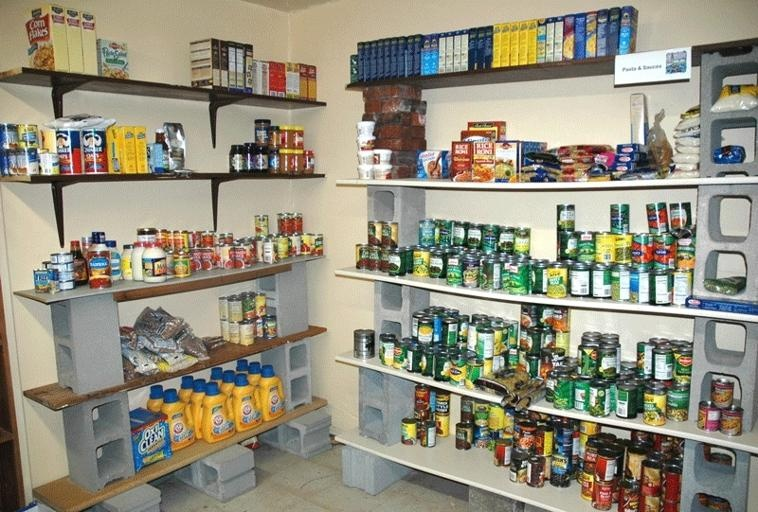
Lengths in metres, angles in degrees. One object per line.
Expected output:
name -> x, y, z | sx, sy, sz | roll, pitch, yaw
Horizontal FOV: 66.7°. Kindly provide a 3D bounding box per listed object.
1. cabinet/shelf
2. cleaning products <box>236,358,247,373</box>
cabinet/shelf -> -0.028, 0.126, 3.768 | 3.720, 1.537, 1.737 | 3, 7, 28
cleaning products -> -1.053, 0.837, 4.428 | 0.093, 0.073, 0.088 | 2, 5, 20
